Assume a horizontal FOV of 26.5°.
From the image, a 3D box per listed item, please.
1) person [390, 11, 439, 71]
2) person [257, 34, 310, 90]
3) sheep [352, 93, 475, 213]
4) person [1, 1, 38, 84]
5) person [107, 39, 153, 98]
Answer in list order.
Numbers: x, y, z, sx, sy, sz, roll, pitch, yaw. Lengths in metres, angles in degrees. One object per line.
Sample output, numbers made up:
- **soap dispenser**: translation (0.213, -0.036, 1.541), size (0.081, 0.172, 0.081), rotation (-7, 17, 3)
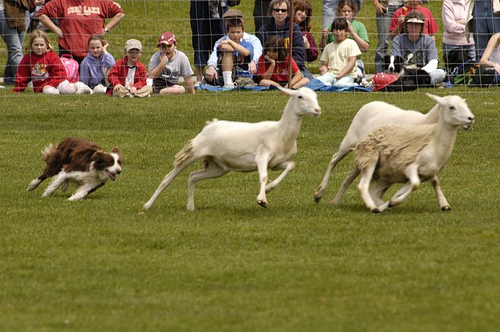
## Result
- **person**: translation (4.435, -3.285, 28.881), size (0.956, 1.851, 0.954), rotation (1, 0, -8)
- **person**: translation (0.842, -2.795, 28.645), size (1.067, 1.440, 1.205), rotation (0, 12, -13)
- **sheep**: translation (3.275, -0.219, 20.992), size (1.154, 2.285, 2.913), rotation (4, -5, -39)
- **person**: translation (-6.598, -3.710, 30.042), size (0.827, 2.441, 0.920), rotation (6, -2, -12)
- **person**: translation (-3.219, -2.617, 28.423), size (1.144, 1.595, 0.854), rotation (2, 12, -6)
